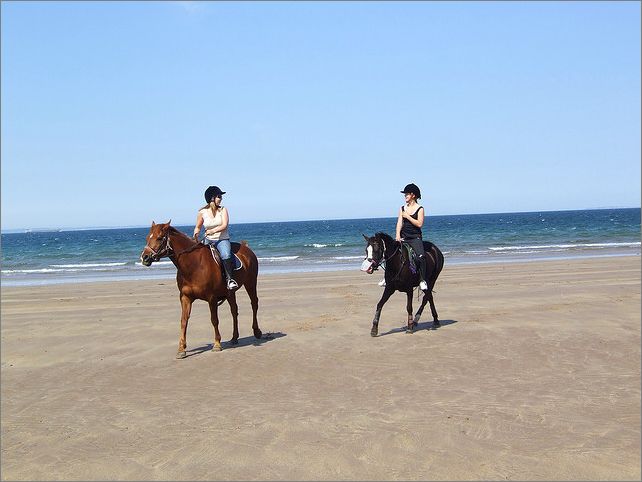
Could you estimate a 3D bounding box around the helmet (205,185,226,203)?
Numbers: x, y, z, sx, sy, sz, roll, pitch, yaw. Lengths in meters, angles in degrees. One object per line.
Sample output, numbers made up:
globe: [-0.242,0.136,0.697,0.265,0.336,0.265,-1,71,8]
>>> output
helmet: [-2.358,-1.015,11.765,0.321,0.293,0.614,-4,2,-11]

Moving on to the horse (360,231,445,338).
horse: [2.117,1.037,13.030,0.870,2.375,3.426,-2,-2,39]
